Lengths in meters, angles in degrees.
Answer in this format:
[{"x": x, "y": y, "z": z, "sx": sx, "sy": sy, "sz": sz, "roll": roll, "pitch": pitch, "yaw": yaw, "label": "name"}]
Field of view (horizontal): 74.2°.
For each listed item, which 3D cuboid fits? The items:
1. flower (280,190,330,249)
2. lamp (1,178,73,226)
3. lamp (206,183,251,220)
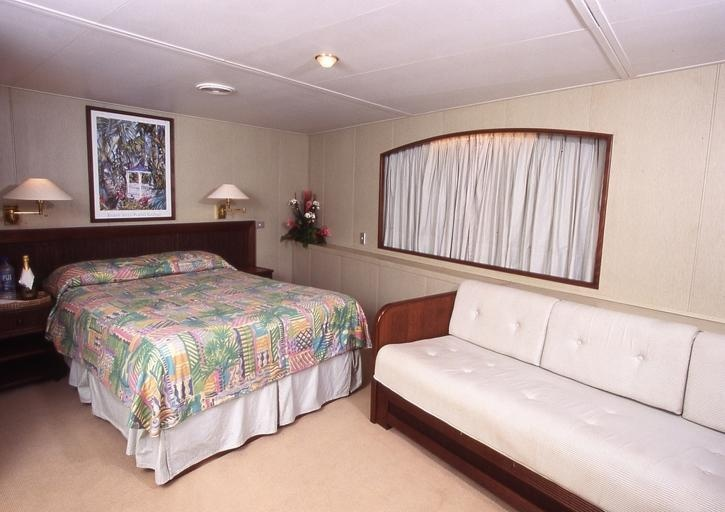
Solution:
[{"x": -0.740, "y": -0.573, "z": 7.076, "sx": 0.697, "sy": 0.799, "sz": 0.766, "roll": 4, "pitch": 7, "yaw": 22, "label": "flower"}, {"x": -3.205, "y": -0.593, "z": 4.768, "sx": 0.500, "sy": 0.424, "sz": 0.512, "roll": 14, "pitch": 17, "yaw": 10, "label": "lamp"}, {"x": -1.716, "y": -0.690, "z": 6.064, "sx": 0.458, "sy": 0.375, "sz": 0.457, "roll": 0, "pitch": 0, "yaw": -45, "label": "lamp"}]
